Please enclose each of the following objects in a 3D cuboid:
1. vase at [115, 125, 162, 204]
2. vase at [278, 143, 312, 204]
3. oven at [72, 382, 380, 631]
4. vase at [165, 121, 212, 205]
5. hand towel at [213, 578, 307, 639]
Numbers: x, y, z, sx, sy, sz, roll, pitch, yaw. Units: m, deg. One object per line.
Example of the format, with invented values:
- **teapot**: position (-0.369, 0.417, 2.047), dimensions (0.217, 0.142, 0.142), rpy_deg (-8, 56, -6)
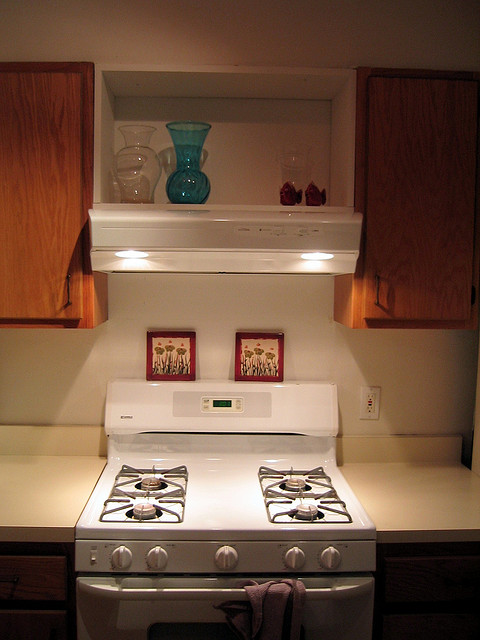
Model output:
- **vase**: position (-0.302, -0.444, 1.535), dimensions (0.136, 0.232, 0.134), rpy_deg (9, 15, 28)
- **vase**: position (0.170, -0.445, 1.615), dimensions (0.086, 0.178, 0.174), rpy_deg (5, 9, 22)
- **oven**: position (-0.036, 0.544, 1.527), dimensions (0.769, 0.806, 0.596), rpy_deg (0, -3, -1)
- **vase**: position (-0.149, -0.440, 1.518), dimensions (0.124, 0.222, 0.129), rpy_deg (0, 5, 13)
- **hand towel**: position (0.053, 0.716, 1.249), dimensions (0.229, 0.180, 0.103), rpy_deg (1, 8, -5)
